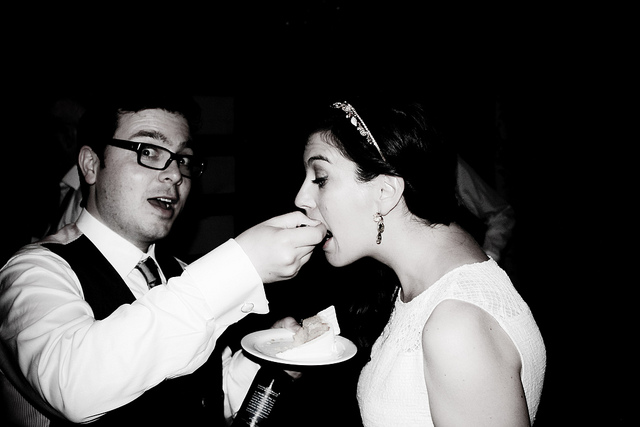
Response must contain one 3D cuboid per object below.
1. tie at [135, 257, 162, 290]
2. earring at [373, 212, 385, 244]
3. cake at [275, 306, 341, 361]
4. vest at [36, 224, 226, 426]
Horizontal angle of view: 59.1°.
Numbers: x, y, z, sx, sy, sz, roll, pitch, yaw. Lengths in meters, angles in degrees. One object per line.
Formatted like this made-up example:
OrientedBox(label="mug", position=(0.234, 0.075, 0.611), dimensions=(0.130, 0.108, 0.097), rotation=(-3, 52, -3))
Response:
OrientedBox(label="tie", position=(-1.088, 0.388, 3.617), dimensions=(0.135, 0.053, 0.190), rotation=(6, -32, 50))
OrientedBox(label="earring", position=(0.335, 0.084, 3.228), dimensions=(0.065, 0.176, 0.011), rotation=(5, 11, 10))
OrientedBox(label="cake", position=(-0.034, 0.742, 3.349), dimensions=(0.350, 0.156, 0.392), rotation=(6, 10, 17))
OrientedBox(label="vest", position=(-1.088, 0.644, 3.163), dimensions=(0.660, 1.211, 0.947), rotation=(-22, -11, 4))
